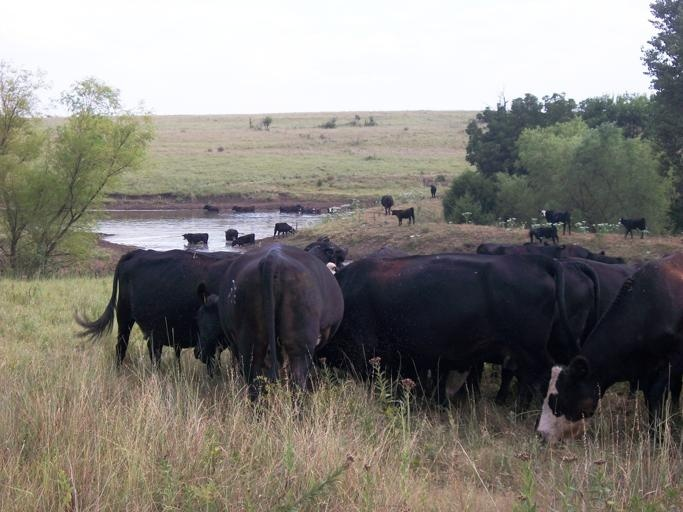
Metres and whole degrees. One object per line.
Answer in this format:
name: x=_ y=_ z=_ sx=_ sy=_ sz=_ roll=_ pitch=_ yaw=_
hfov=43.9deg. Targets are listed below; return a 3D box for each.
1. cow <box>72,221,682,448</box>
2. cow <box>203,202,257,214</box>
cow: x=0.221 y=0.912 z=15.041 sx=10.030 sy=2.564 sz=5.701 roll=2 pitch=6 yaw=4
cow: x=-7.850 y=-3.326 z=58.885 sx=1.874 sy=0.414 sz=0.975 roll=7 pitch=19 yaw=6
